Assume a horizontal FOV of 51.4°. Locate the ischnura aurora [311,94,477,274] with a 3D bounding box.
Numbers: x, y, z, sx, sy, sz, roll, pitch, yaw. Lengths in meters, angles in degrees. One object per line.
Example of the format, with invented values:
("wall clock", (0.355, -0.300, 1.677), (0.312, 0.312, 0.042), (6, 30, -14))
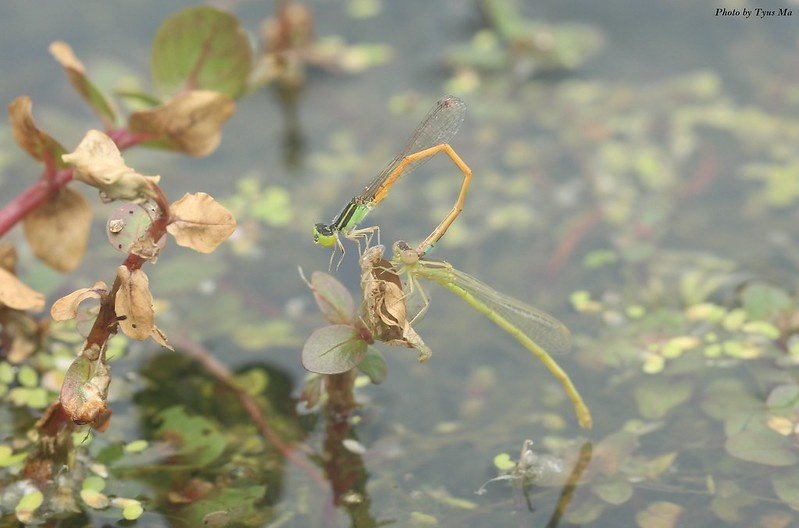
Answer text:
("ischnura aurora", (0.010, -0.136, 1.348), (0.132, 0.194, 0.315), (17, 39, 35))
